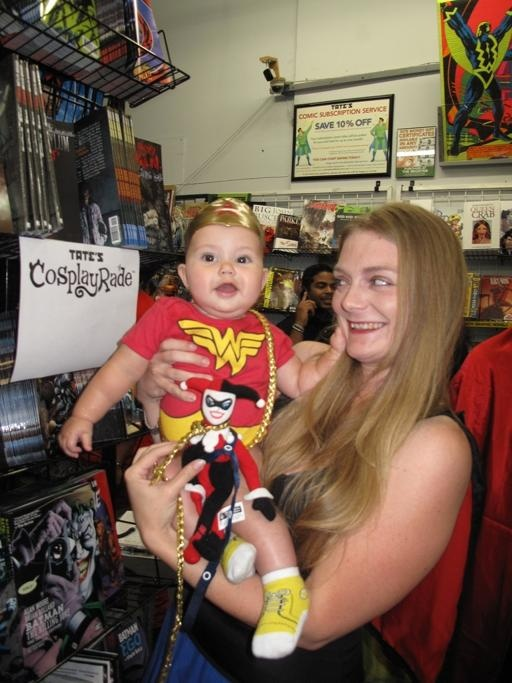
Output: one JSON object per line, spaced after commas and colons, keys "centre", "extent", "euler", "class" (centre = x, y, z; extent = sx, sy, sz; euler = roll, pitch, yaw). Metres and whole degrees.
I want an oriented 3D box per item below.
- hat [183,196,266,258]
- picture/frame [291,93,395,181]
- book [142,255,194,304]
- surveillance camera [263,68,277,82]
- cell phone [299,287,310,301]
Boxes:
{"centre": [-0.067, -0.280, 1.174], "extent": [0.144, 0.090, 0.138], "euler": [4, -27, 2], "class": "hat"}
{"centre": [0.699, -1.573, 3.857], "extent": [0.794, 0.550, 0.034], "euler": [4, 2, 28], "class": "picture/frame"}
{"centre": [-0.363, -0.264, 2.017], "extent": [0.167, 0.045, 0.176], "euler": [-26, 32, -20], "class": "book"}
{"centre": [0.106, -2.101, 3.985], "extent": [0.078, 0.118, 0.126], "euler": [-3, 14, 0], "class": "surveillance camera"}
{"centre": [0.332, -0.320, 3.431], "extent": [0.068, 0.053, 0.073], "euler": [12, 46, -10], "class": "cell phone"}
